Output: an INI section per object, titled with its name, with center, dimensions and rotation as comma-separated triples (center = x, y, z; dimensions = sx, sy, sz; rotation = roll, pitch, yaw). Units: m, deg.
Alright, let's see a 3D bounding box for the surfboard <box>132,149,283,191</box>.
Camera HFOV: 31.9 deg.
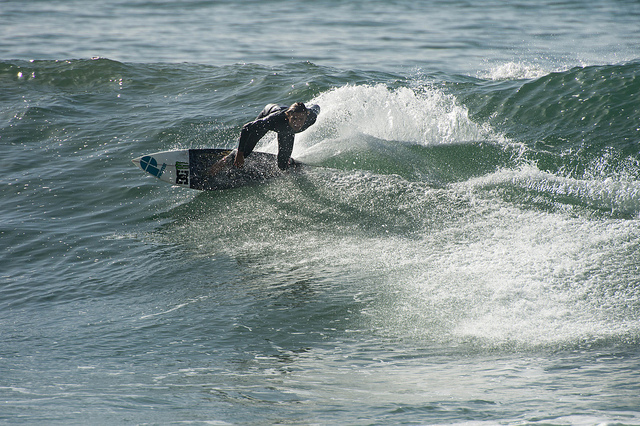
[surfboard]
center = -2.943, -1.263, 31.609
dimensions = 6.365, 0.890, 0.557
rotation = -1, 8, 31
